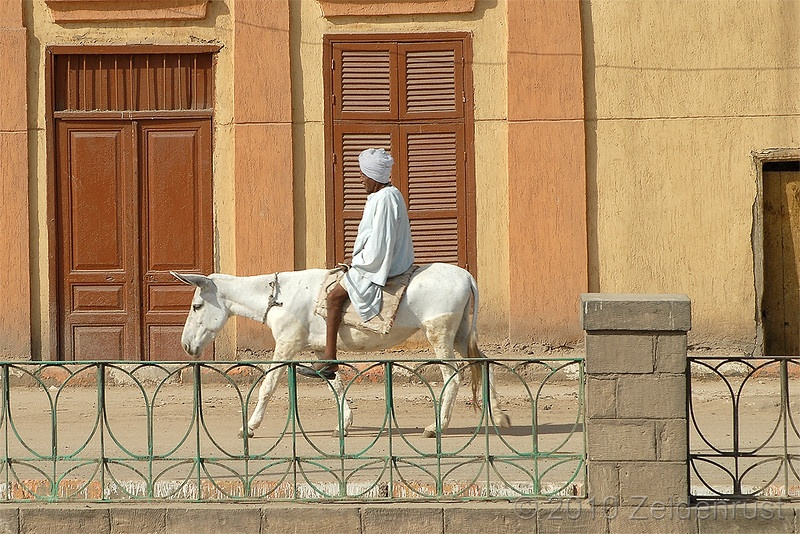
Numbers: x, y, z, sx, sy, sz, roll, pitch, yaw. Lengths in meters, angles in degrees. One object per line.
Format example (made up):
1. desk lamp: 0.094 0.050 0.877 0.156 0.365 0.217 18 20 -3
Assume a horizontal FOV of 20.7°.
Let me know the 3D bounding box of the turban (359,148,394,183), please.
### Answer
1. turban: -0.267 -1.267 26.217 0.375 0.374 0.449 2 22 -18
